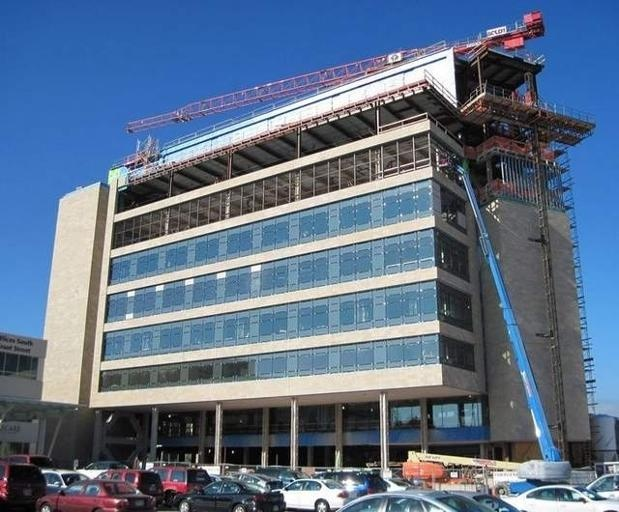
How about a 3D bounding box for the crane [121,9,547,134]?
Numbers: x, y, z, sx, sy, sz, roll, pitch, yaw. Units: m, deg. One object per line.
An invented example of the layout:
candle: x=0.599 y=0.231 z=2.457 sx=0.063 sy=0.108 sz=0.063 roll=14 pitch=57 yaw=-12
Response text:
crane: x=2.189 y=-16.215 z=67.368 sx=47.075 sy=5.307 sz=2.561 roll=-16 pitch=8 yaw=-4
